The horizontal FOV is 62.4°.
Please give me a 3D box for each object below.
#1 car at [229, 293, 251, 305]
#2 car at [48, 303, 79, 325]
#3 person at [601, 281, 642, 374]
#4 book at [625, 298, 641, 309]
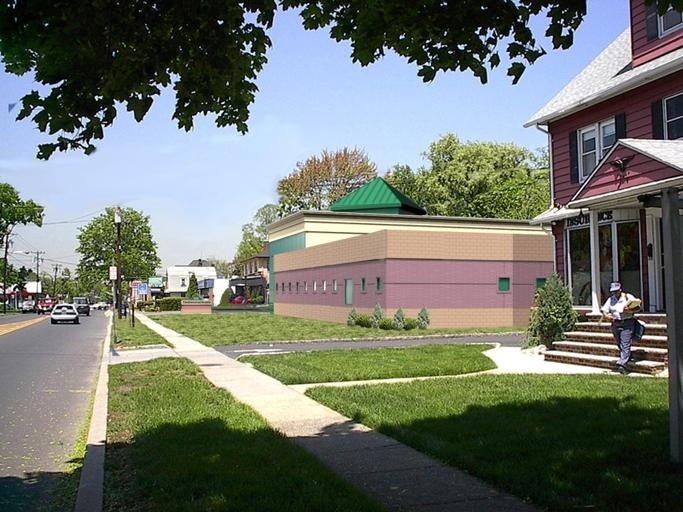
[{"bbox_3d":[-14.593,5.989,80.786,2.671,1.476,8.503,1,-5,-12],"label":"car"},{"bbox_3d":[-21.859,4.526,44.607,1.180,0.949,2.761,0,2,-14],"label":"car"},{"bbox_3d":[6.829,1.675,13.512,0.718,2.145,1.064,-1,-4,12],"label":"person"},{"bbox_3d":[6.900,1.104,13.147,0.347,0.248,0.243,2,-5,-21],"label":"book"}]
